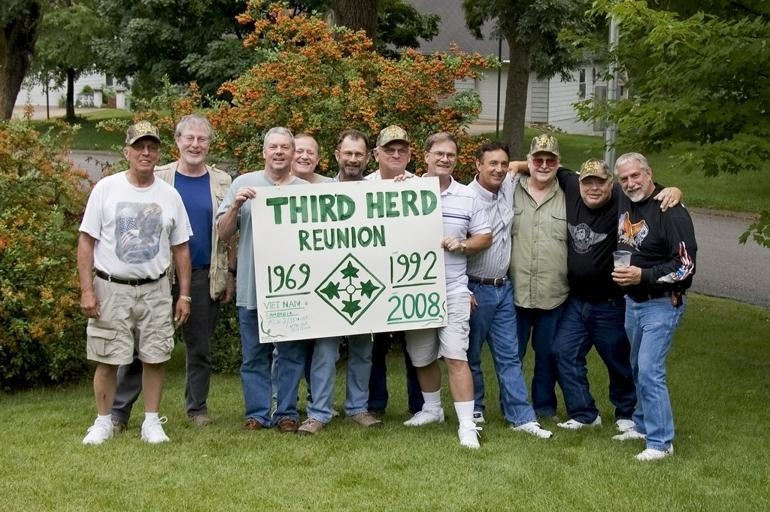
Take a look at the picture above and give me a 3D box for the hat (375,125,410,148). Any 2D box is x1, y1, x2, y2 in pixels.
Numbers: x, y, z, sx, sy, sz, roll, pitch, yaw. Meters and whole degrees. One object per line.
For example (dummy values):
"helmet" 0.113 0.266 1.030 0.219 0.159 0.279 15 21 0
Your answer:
"hat" 0.078 -1.253 8.453 0.332 0.227 0.208 2 11 0

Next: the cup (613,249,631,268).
"cup" 2.339 0.023 7.970 0.157 0.124 0.160 0 2 0

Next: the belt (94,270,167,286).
"belt" -2.533 0.199 8.048 0.680 0.142 0.178 -1 11 -15

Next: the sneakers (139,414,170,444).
"sneakers" -2.297 1.703 8.052 0.276 0.233 0.289 -1 11 -16

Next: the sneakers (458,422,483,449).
"sneakers" 0.847 1.778 8.043 0.210 0.190 0.250 3 11 3

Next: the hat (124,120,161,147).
"hat" -2.463 -1.251 8.171 0.343 0.275 0.475 1 0 -18

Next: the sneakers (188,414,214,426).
"sneakers" -1.987 1.745 8.647 0.219 0.096 0.103 -4 -23 41

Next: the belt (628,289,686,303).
"belt" 2.709 0.401 8.020 0.264 0.104 0.234 -8 -1 1

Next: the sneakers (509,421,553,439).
"sneakers" 1.523 1.795 8.438 0.426 0.188 0.147 2 9 33

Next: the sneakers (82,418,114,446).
"sneakers" -2.854 1.705 8.011 0.263 0.231 0.401 0 11 -12

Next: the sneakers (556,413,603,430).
"sneakers" 2.129 1.792 8.825 0.494 0.215 0.180 2 -7 -17

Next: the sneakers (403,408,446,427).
"sneakers" 0.428 1.713 8.679 0.458 0.204 0.167 -4 -1 -7
